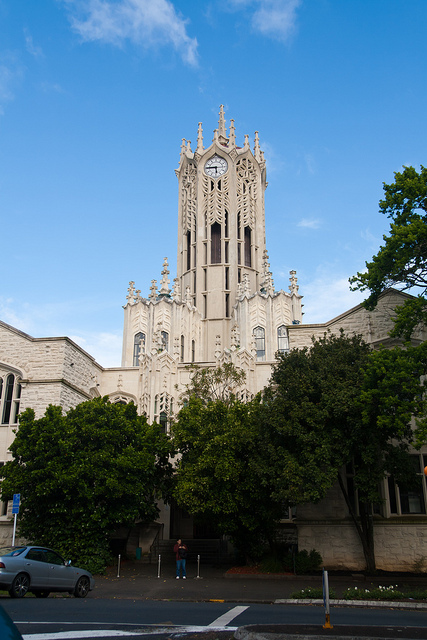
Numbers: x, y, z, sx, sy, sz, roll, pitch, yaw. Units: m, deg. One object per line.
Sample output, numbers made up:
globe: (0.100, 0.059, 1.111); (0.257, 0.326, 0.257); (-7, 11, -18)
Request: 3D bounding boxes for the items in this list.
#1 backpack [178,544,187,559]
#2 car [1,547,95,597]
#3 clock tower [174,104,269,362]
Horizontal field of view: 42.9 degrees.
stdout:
backpack: (-1.186, 8.952, 20.995); (0.275, 0.367, 0.362); (3, 12, 3)
car: (-4.323, 6.382, 13.952); (1.009, 0.769, 2.363); (-32, -46, 24)
clock tower: (0.853, -9.447, 60.022); (9.523, 29.189, 4.671); (-1, -18, -3)
